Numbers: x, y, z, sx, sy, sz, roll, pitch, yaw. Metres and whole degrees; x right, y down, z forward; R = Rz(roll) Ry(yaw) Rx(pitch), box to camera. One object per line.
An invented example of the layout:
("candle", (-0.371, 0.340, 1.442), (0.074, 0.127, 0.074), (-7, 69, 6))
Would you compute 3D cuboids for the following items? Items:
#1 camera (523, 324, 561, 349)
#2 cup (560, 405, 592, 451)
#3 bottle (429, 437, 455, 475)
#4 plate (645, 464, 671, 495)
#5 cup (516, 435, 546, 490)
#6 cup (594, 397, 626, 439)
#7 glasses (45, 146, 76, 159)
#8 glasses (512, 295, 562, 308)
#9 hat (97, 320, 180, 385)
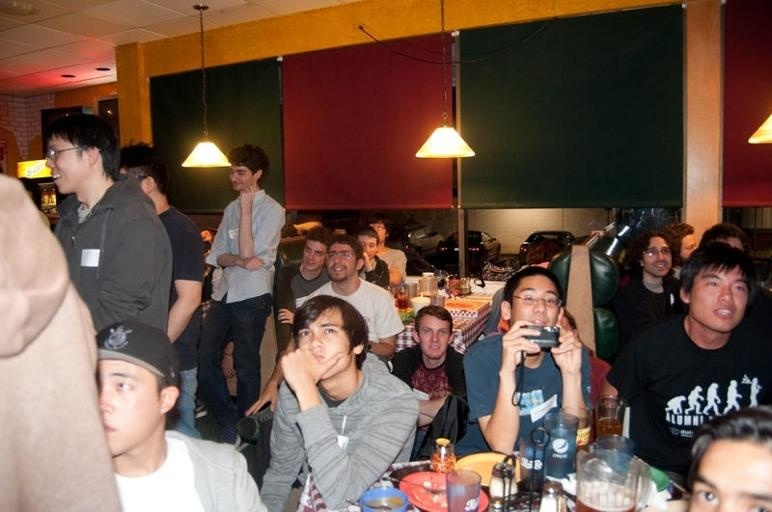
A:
("camera", (0.650, 0.320, 2.349), (0.140, 0.097, 0.079), (-1, -3, 15))
("cup", (0.706, 0.646, 2.168), (0.125, 0.197, 0.125), (-2, 20, 1))
("bottle", (0.205, 0.792, 2.276), (0.104, 0.144, 0.101), (1, -17, 0))
("plate", (0.949, 0.784, 2.058), (0.100, 0.025, 0.101), (-3, 22, -26))
("cup", (0.531, 0.736, 2.071), (0.098, 0.217, 0.160), (2, 4, 5))
("cup", (0.876, 0.634, 2.239), (0.112, 0.148, 0.184), (2, 4, 9))
("glasses", (-1.459, -0.480, 2.612), (0.078, 0.024, 0.083), (2, 10, 43))
("glasses", (0.665, 0.197, 2.529), (0.183, 0.049, 0.039), (1, 4, -2))
("hat", (-0.810, 0.316, 2.055), (0.211, 0.146, 0.283), (2, -34, 37))
